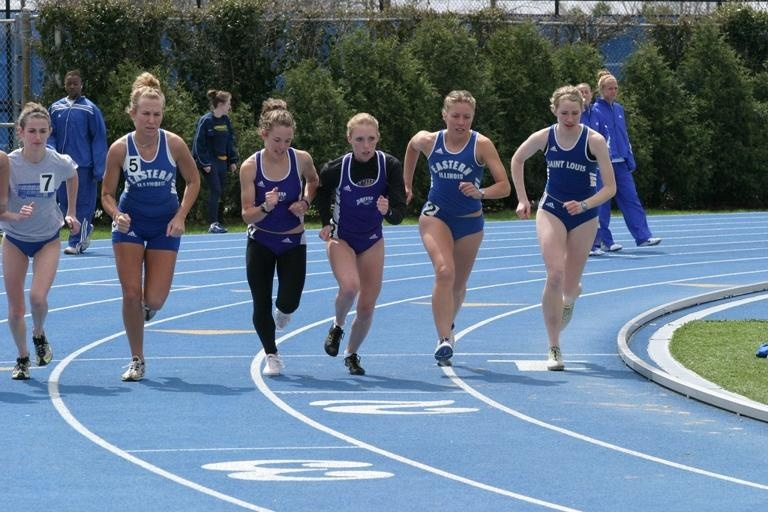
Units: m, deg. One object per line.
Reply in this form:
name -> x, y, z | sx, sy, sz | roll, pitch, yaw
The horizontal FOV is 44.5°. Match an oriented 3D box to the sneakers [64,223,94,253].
sneakers -> -4.773, -0.264, 14.642 | 0.147, 0.468, 0.205 | 20, -14, -15

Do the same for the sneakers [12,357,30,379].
sneakers -> -3.411, 1.025, 8.742 | 0.159, 0.198, 0.234 | -3, 10, -22

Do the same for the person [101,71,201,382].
person -> -2.174, -0.271, 8.737 | 0.868, 2.787, 0.587 | -2, 9, -17

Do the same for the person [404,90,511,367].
person -> 0.680, -0.275, 9.305 | 0.875, 2.669, 1.231 | -2, 9, -15

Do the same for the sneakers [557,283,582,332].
sneakers -> 1.995, 0.557, 9.991 | 0.192, 0.562, 0.242 | 19, 23, 15

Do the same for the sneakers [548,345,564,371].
sneakers -> 1.700, 0.982, 9.130 | 0.169, 0.229, 0.202 | 2, 9, 12

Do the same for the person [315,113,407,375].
person -> -0.209, -0.104, 8.913 | 0.832, 2.460, 0.597 | 0, 8, -5

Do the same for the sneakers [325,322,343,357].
sneakers -> -0.460, 0.819, 9.044 | 0.130, 0.382, 0.160 | 9, -17, -28

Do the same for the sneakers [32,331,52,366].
sneakers -> -3.272, 0.888, 8.948 | 0.128, 0.349, 0.159 | -12, 11, -18

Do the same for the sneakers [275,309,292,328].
sneakers -> -1.046, 0.642, 9.612 | 0.179, 0.200, 0.222 | 3, -10, -8

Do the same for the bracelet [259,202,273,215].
bracelet -> -1.084, -0.435, 8.520 | 0.126, 0.084, 0.116 | 36, -12, 2

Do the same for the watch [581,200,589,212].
watch -> 1.965, -0.499, 9.104 | 0.072, 0.104, 0.096 | -3, 3, -11

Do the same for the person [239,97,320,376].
person -> -0.976, -0.171, 8.889 | 0.736, 2.578, 0.785 | -1, 9, -8

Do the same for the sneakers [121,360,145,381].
sneakers -> -2.329, 1.066, 8.693 | 0.120, 0.131, 0.295 | 1, -1, 0

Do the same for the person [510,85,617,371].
person -> 1.820, -0.313, 9.397 | 1.015, 2.732, 1.130 | 2, 9, 9

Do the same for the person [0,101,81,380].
person -> -3.260, -0.159, 8.811 | 0.651, 2.509, 0.559 | -3, 9, -23

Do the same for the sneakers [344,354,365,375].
sneakers -> -0.282, 1.045, 9.019 | 0.104, 0.128, 0.284 | -3, 7, -21

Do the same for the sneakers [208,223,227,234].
sneakers -> -3.270, -0.531, 18.362 | 0.335, 0.153, 0.177 | 0, 2, 37
